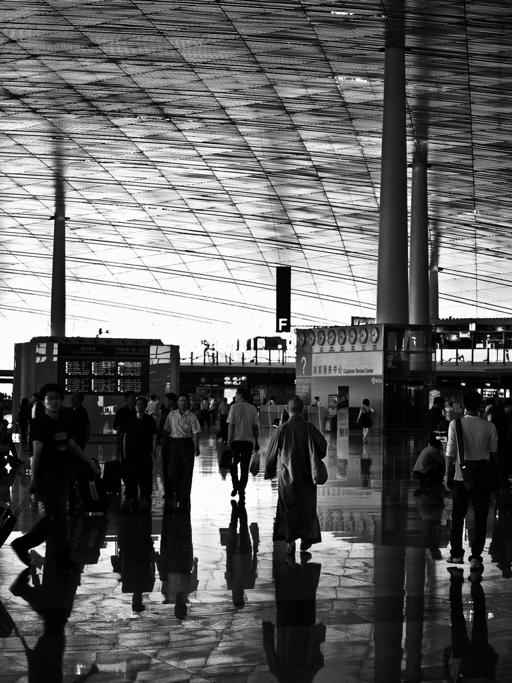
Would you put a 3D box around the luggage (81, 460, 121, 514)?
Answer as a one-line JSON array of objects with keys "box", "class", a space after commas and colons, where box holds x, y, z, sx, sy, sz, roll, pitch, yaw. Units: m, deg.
[{"box": [-2.152, 2.004, 12.829, 0.538, 0.720, 1.107, -3, 3, -6], "class": "luggage"}]

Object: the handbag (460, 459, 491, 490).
[{"box": [2.046, 1.231, 8.650, 0.314, 0.370, 0.203, 0, 5, 19], "class": "handbag"}]
